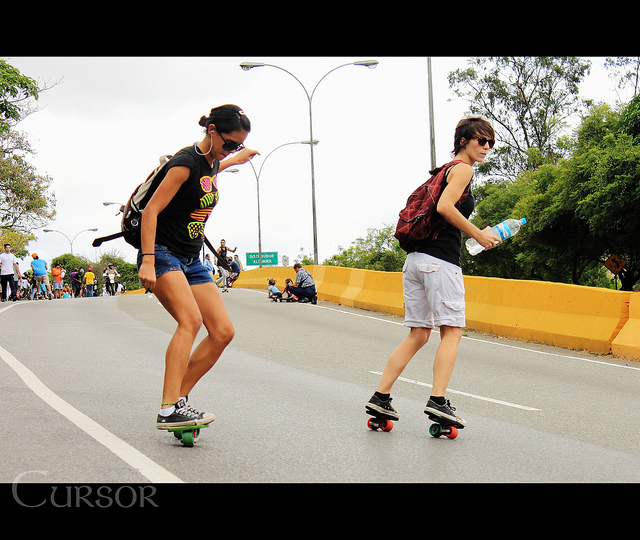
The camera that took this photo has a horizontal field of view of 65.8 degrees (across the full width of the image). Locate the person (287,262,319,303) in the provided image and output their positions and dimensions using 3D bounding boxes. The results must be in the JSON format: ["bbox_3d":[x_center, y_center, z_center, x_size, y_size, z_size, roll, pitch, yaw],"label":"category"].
[{"bbox_3d":[-0.804,0.552,19.327,1.010,1.674,0.929,-7,-4,28],"label":"person"}]

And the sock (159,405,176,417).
[{"bbox_3d":[-1.023,0.937,3.313,0.120,0.058,0.044,-11,5,-9],"label":"sock"}]

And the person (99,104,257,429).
[{"bbox_3d":[-0.983,0.030,3.597,0.922,2.441,1.023,-1,5,-11],"label":"person"}]

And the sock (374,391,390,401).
[{"bbox_3d":[0.496,1.010,3.952,0.092,0.079,0.085,19,-6,-22],"label":"sock"}]

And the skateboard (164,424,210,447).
[{"bbox_3d":[-0.916,1.122,3.407,0.273,0.199,0.232,-1,5,-9],"label":"skateboard"}]

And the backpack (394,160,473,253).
[{"bbox_3d":[0.914,-0.527,4.133,0.399,0.805,0.547,21,-3,-11],"label":"backpack"}]
